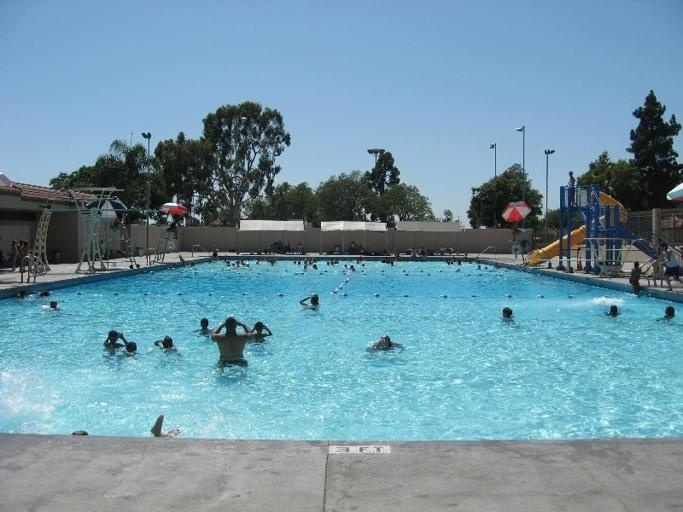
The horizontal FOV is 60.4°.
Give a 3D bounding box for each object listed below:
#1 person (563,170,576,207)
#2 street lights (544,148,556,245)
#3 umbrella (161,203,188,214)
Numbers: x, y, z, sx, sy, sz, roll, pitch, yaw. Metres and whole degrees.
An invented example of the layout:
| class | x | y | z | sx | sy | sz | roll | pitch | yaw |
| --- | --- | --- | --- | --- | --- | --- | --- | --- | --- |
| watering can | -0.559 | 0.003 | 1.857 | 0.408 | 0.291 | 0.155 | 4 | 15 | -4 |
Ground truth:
| class | x | y | z | sx | sy | sz | roll | pitch | yaw |
| --- | --- | --- | --- | --- | --- | --- | --- | --- | --- |
| person | 7.333 | -2.099 | 18.668 | 0.283 | 1.086 | 1.421 | 3 | 9 | 21 |
| street lights | 11.712 | -3.917 | 33.309 | 0.762 | 4.042 | 0.812 | 1 | 1 | 18 |
| umbrella | -7.828 | -2.211 | 27.626 | 0.926 | 0.338 | 0.946 | 7 | -1 | -28 |
